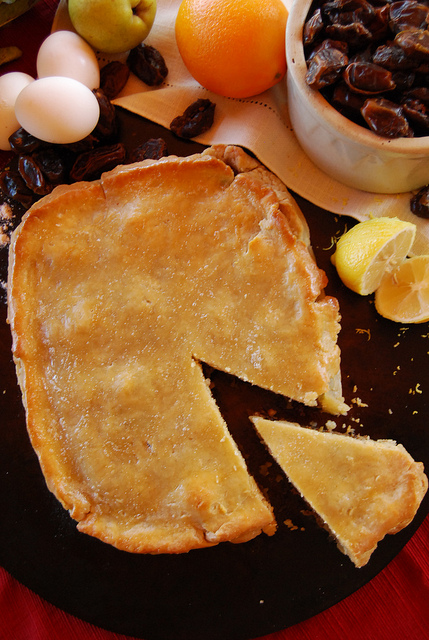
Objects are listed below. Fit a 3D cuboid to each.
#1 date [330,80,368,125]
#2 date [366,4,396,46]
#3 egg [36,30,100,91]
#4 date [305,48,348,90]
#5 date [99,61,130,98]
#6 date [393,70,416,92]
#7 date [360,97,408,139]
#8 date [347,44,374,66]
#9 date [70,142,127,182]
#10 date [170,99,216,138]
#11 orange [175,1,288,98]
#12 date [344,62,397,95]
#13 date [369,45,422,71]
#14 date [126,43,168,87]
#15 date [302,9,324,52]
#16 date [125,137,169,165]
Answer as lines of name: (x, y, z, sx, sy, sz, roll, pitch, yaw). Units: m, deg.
date: (0.361, -0.589, 1.750, 0.106, 0.095, 0.031, 33, 53, 19)
date: (0.442, -0.784, 1.713, 0.081, 0.097, 0.027, 1, 19, 20)
egg: (-0.452, -0.807, 2.055, 0.158, 0.151, 0.191, -11, 85, 0)
date: (0.293, -0.673, 1.718, 0.122, 0.058, 0.080, -42, 75, -10)
date: (-0.329, -0.790, 2.103, 0.092, 0.120, 0.033, 6, 21, -13)
date: (0.500, -0.633, 1.694, 0.053, 0.013, 0.046, 2, 100, 8)
date: (0.444, -0.528, 1.681, 0.124, 0.078, 0.032, 39, 26, -4)
date: (0.391, -0.709, 1.724, 0.065, 0.018, 0.058, 5, 68, 15)
date: (-0.376, -0.505, 2.064, 0.192, 0.056, 0.095, -22, 97, -7)
date: (-0.060, -0.654, 2.090, 0.163, 0.077, 0.089, -36, 74, -8)
orange: (0.044, -0.843, 1.971, 0.301, 0.247, 0.347, -15, 40, -19)
date: (0.405, -0.639, 1.697, 0.123, 0.057, 0.086, -3, 73, 2)
date: (0.470, -0.676, 1.672, 0.098, 0.060, 0.023, 26, 33, 18)
date: (-0.208, -0.829, 2.113, 0.110, 0.054, 0.146, -36, 96, 14)
date: (0.267, -0.781, 1.733, 0.078, 0.094, 0.023, -1, 32, -22)
date: (-0.211, -0.545, 2.087, 0.115, 0.060, 0.086, 1, 73, 3)
